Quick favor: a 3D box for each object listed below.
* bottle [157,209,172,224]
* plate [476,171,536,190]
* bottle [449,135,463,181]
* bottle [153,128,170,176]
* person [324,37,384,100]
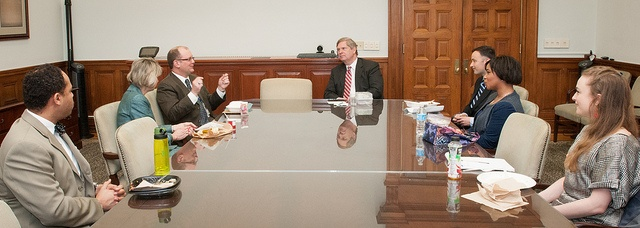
[{"bbox_3d":[-1.886,1.251,4.168,0.181,0.122,0.152,0,-1,-8],"label":"bottle"},{"bbox_3d":[2.443,0.857,4.496,0.426,0.041,0.349,-1,9,-3],"label":"plate"},{"bbox_3d":[1.807,0.623,4.550,0.176,0.473,0.225,1,11,22],"label":"bottle"},{"bbox_3d":[-2.109,0.501,4.536,0.200,0.610,0.252,-7,11,-19],"label":"bottle"},{"bbox_3d":[0.688,-0.955,7.161,1.230,1.264,0.580,-2,10,4],"label":"person"}]
